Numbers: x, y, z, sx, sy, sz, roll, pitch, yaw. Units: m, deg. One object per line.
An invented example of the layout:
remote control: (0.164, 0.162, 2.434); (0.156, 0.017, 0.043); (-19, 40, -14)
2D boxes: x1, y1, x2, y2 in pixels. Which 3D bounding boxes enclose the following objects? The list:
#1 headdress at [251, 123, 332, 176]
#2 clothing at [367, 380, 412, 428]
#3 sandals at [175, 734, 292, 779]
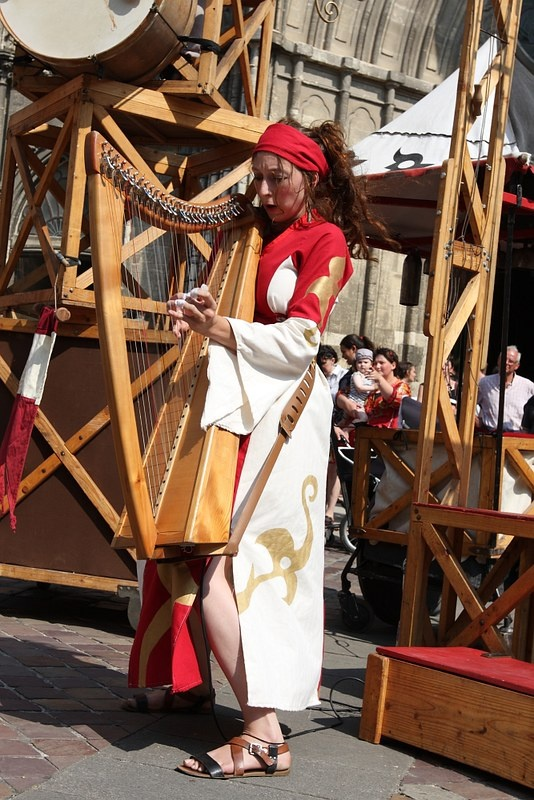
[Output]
headdress: (0.072, -0.660, 1.984); (0.174, 0.087, 0.140); (29, -12, -31)
clothing: (0.914, 0.036, 5.507); (0.175, 0.295, 0.286); (0, 32, -45)
sandals: (-0.070, 0.846, 1.793); (0.236, 0.078, 0.104); (5, -7, -15)
